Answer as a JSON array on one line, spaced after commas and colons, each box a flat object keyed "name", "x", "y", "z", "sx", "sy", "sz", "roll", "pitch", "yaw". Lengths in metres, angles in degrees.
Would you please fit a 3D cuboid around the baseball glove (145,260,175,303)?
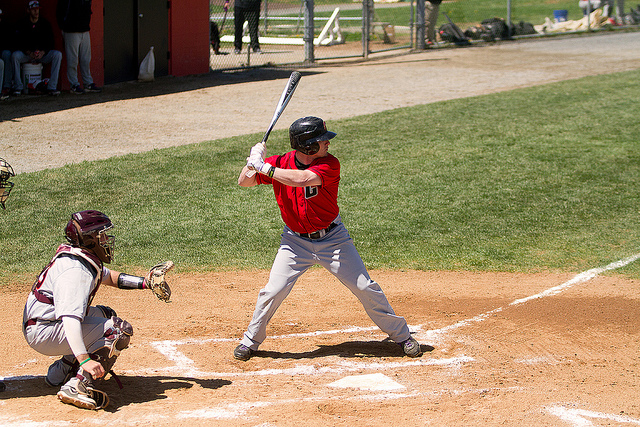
[{"name": "baseball glove", "x": -2.212, "y": 0.932, "z": 14.609, "sx": 0.387, "sy": 0.556, "sz": 0.255, "roll": -5, "pitch": 9, "yaw": -8}]

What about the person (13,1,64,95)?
[{"name": "person", "x": -6.271, "y": -3.662, "z": 23.437, "sx": 1.063, "sy": 1.974, "sz": 0.927, "roll": -11, "pitch": 12, "yaw": -37}]

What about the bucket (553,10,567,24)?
[{"name": "bucket", "x": 7.849, "y": -6.499, "z": 34.929, "sx": 0.648, "sy": 0.523, "sz": 0.551, "roll": 0, "pitch": 8, "yaw": 8}]

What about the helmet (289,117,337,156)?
[{"name": "helmet", "x": -0.166, "y": -1.092, "z": 14.852, "sx": 0.733, "sy": 0.412, "sz": 0.488, "roll": -4, "pitch": 21, "yaw": -2}]

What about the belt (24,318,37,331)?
[{"name": "belt", "x": -3.870, "y": 1.481, "z": 14.229, "sx": 0.161, "sy": 0.120, "sz": 0.046, "roll": 1, "pitch": -19, "yaw": 18}]

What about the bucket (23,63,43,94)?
[{"name": "bucket", "x": -6.430, "y": -3.067, "z": 23.980, "sx": 0.542, "sy": 0.666, "sz": 0.518, "roll": 0, "pitch": 11, "yaw": 0}]
